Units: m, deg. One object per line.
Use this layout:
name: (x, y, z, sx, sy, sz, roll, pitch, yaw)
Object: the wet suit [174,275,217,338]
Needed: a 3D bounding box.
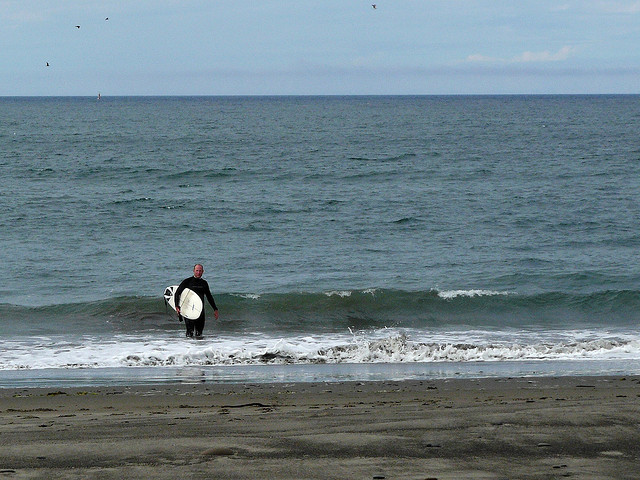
wet suit: (-4.532, 2.508, 50.308, 1.523, 2.365, 0.867, -1, 17, 10)
